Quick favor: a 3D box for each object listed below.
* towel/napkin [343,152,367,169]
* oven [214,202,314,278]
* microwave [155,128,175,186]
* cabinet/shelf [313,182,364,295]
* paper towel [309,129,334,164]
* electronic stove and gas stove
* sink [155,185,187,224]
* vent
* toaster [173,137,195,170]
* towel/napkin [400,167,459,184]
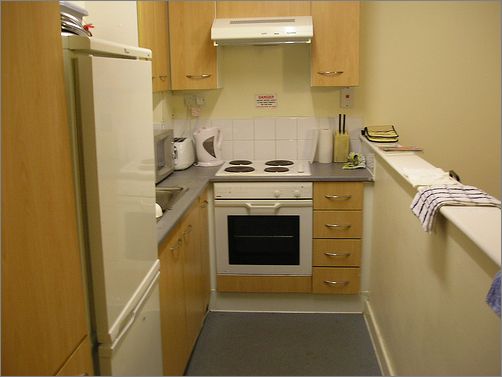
[{"bbox_3d":[0.839,-0.218,3.230,0.177,0.114,0.142,3,15,13],"label":"towel/napkin"},{"bbox_3d":[0.113,0.238,3.252,0.771,0.623,0.554,-1,5,1],"label":"oven"},{"bbox_3d":[-0.635,-0.225,2.953,0.214,0.262,0.381,1,16,1],"label":"microwave"},{"bbox_3d":[0.639,0.382,3.116,0.290,0.797,0.424,0,11,6],"label":"cabinet/shelf"},{"bbox_3d":[0.616,-0.371,3.461,0.184,0.286,0.219,1,15,8],"label":"paper towel"},{"bbox_3d":[0.091,-0.175,3.428,0.877,0.274,0.827,2,16,2],"label":"electronic stove and gas stove"},{"bbox_3d":[-0.535,0.087,2.618,0.205,0.150,0.295,1,17,-3],"label":"sink"},{"bbox_3d":[0.108,-1.243,3.179,0.757,0.175,0.448,0,19,4],"label":"vent"},{"bbox_3d":[-0.579,-0.296,3.410,0.150,0.247,0.270,0,9,18],"label":"toaster"},{"bbox_3d":[0.826,-0.060,1.889,0.225,0.056,0.263,2,15,-2],"label":"towel/napkin"}]
